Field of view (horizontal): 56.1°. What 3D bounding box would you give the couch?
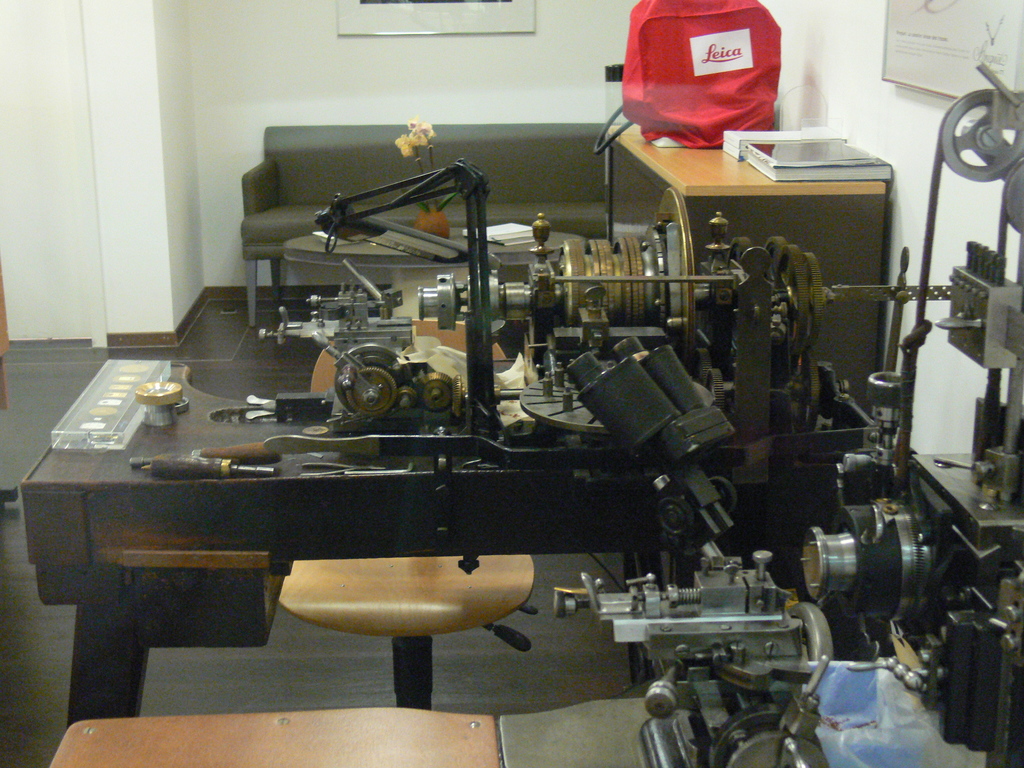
[{"bbox_3d":[-0.455,-0.900,5.387,1.971,1.048,0.702,0,22,2],"label":"couch"}]
